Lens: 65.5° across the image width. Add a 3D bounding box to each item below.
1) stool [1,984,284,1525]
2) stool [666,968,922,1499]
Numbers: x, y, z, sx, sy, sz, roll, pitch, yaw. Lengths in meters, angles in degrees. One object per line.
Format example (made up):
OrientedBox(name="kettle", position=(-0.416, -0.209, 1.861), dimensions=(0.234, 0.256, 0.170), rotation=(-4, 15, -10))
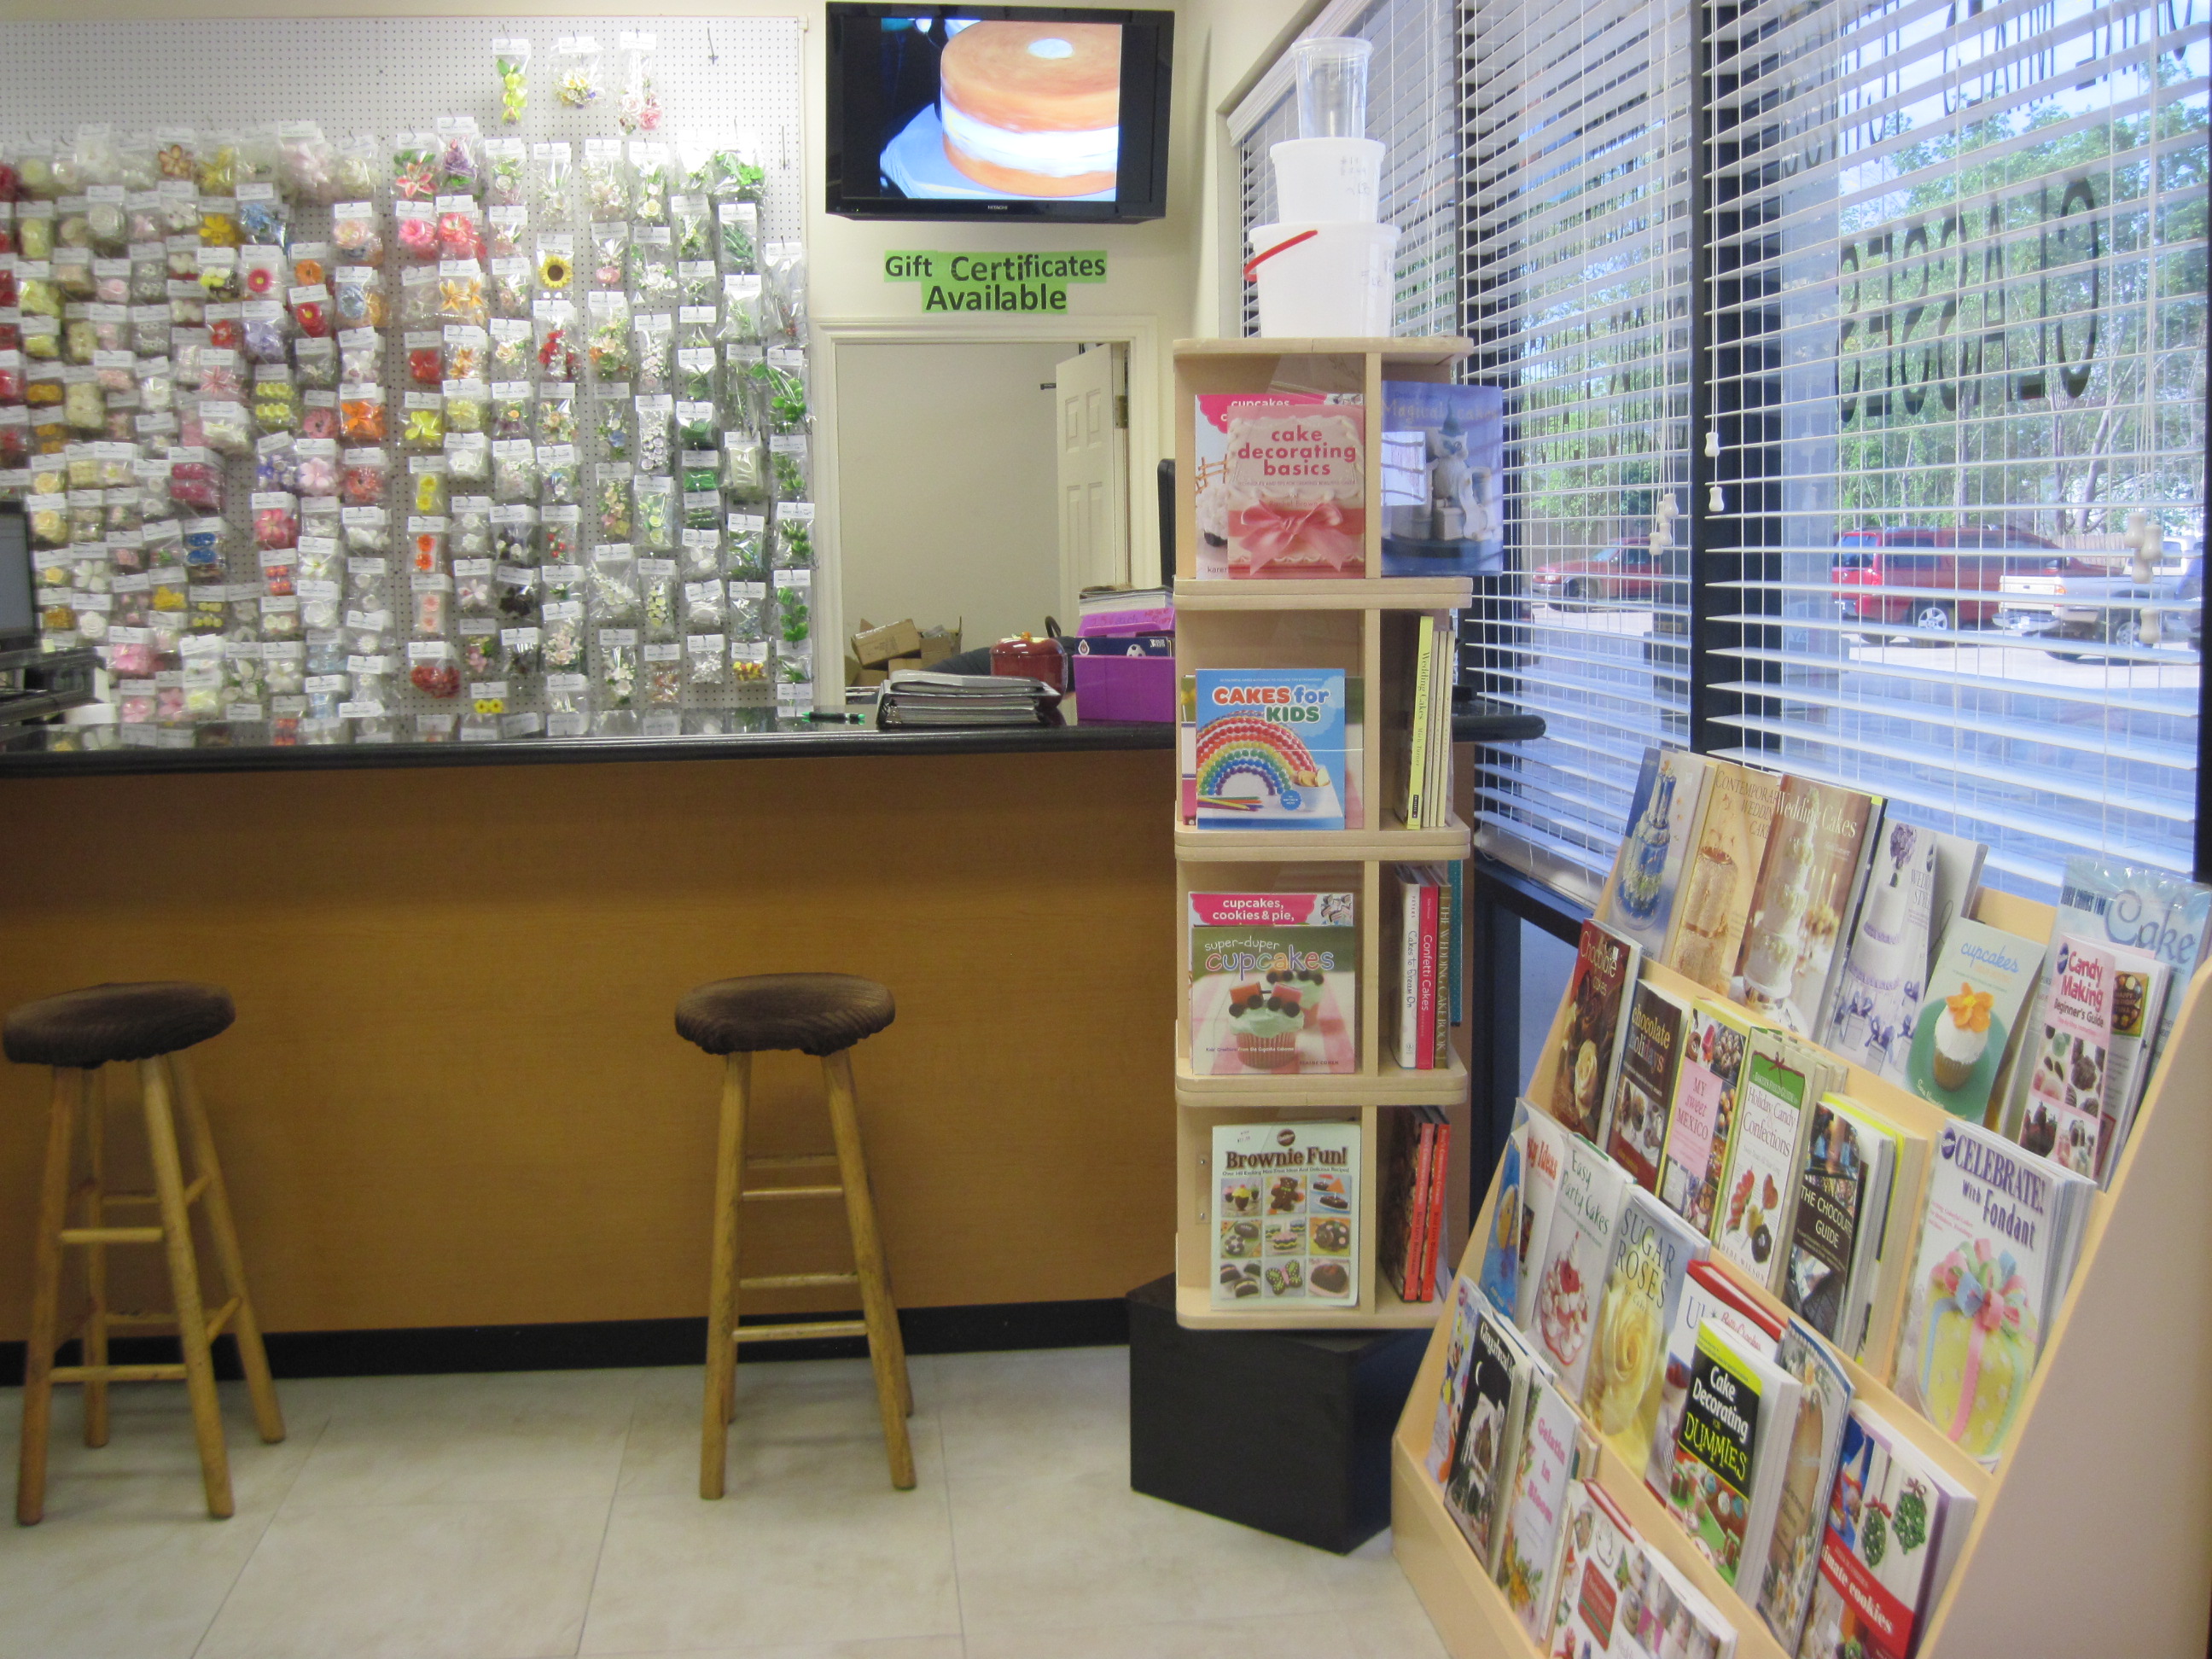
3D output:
OrientedBox(name="stool", position=(-1.856, 0.739, 3.264), dimensions=(0.443, 0.900, 0.762), rotation=(-6, 13, -28))
OrientedBox(name="stool", position=(-0.588, 0.716, 3.327), dimensions=(0.429, 0.903, 0.647), rotation=(-3, 11, -11))
